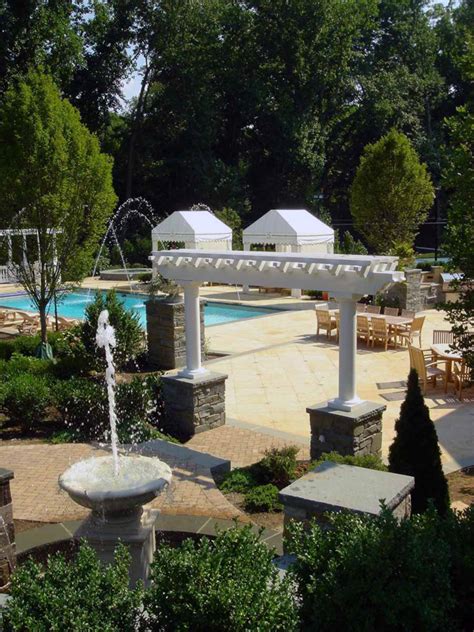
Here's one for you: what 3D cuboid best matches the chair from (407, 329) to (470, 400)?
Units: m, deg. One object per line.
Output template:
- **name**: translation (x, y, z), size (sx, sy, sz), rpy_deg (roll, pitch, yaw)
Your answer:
- **chair**: translation (3.439, 0.850, 10.261), size (1.245, 0.673, 1.051), rpy_deg (-5, 21, -13)
